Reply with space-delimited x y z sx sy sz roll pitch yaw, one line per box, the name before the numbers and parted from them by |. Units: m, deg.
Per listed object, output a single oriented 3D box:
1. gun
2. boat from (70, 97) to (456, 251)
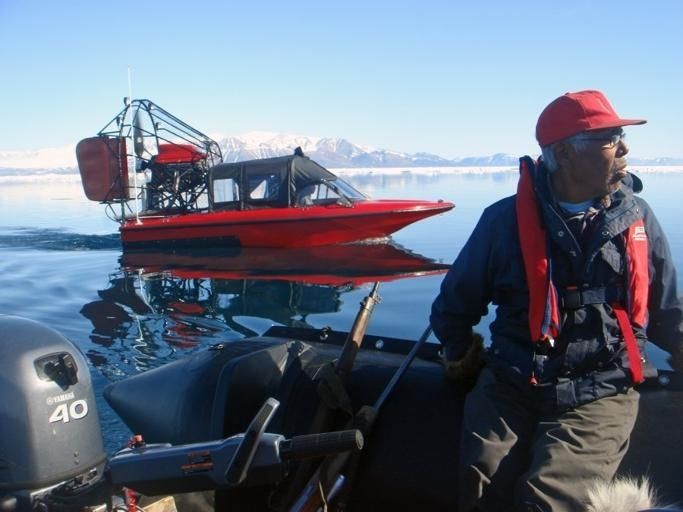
gun | 0.071 0.649 3.441 0.466 0.159 1.261 14 33 18
boat | -1.819 -1.726 14.645 6.728 3.020 2.476 2 7 24
